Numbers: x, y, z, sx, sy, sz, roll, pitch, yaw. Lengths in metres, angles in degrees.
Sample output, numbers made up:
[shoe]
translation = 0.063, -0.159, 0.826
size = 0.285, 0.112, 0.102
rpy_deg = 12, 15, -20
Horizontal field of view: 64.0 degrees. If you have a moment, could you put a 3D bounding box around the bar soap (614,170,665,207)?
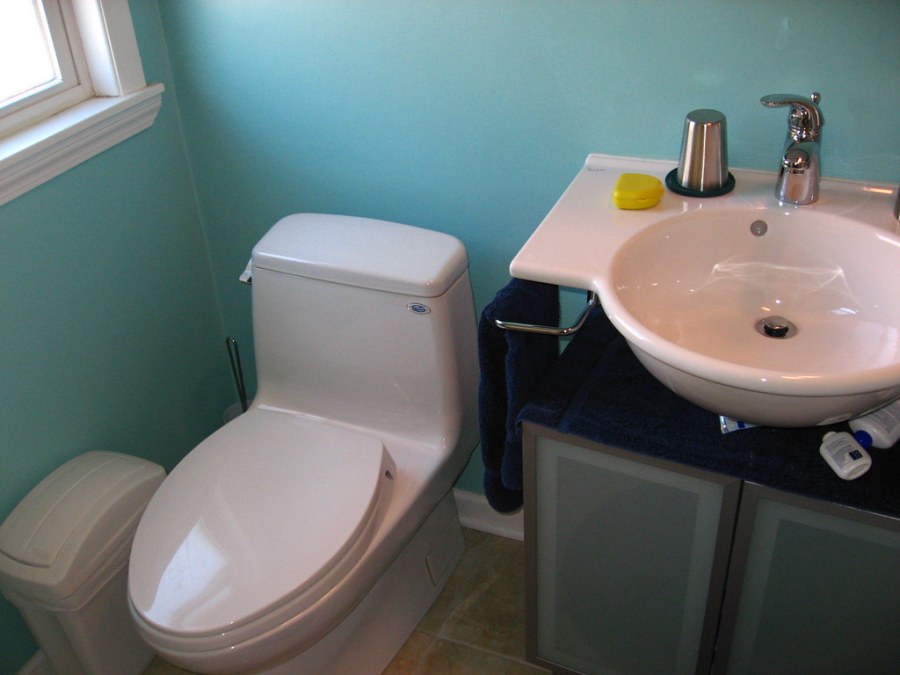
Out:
[bar soap]
translation = 0.360, -0.278, 1.356
size = 0.068, 0.029, 0.080
rpy_deg = 3, 37, 11

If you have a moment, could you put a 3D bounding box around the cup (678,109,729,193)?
[cup]
translation = 0.486, -0.359, 1.362
size = 0.107, 0.139, 0.124
rpy_deg = 7, 46, 25

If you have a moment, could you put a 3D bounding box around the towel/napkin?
[towel/napkin]
translation = 0.133, 0.112, 1.350
size = 0.116, 0.437, 0.325
rpy_deg = 4, 31, 11

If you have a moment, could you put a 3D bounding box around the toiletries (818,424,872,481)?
[toiletries]
translation = 0.620, 0.180, 1.145
size = 0.056, 0.025, 0.078
rpy_deg = -32, 41, 10

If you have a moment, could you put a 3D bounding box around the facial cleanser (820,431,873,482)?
[facial cleanser]
translation = 0.621, 0.185, 1.129
size = 0.056, 0.025, 0.076
rpy_deg = -28, 44, 1
